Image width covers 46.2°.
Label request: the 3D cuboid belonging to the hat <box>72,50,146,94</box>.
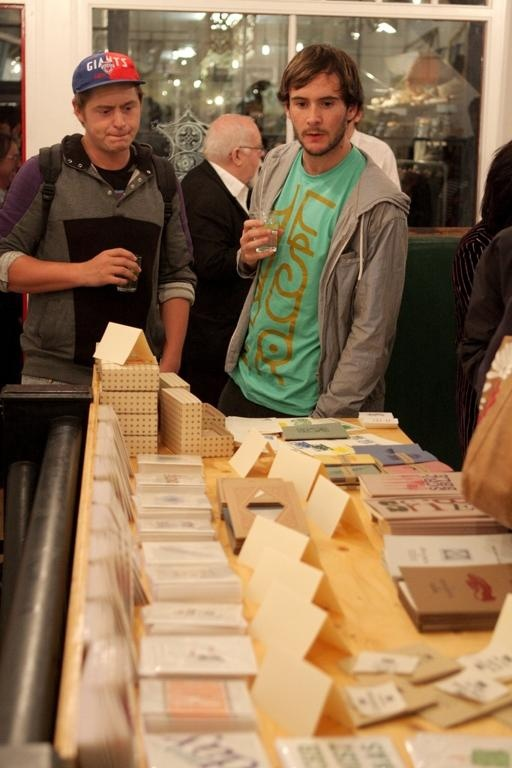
[{"bbox_3d":[-0.516,-1.095,2.108,0.216,0.152,0.134,12,2,-22],"label":"hat"}]

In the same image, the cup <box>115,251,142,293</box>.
[{"bbox_3d":[-0.457,-0.410,2.191,0.076,0.138,0.128,12,2,-14],"label":"cup"}]
